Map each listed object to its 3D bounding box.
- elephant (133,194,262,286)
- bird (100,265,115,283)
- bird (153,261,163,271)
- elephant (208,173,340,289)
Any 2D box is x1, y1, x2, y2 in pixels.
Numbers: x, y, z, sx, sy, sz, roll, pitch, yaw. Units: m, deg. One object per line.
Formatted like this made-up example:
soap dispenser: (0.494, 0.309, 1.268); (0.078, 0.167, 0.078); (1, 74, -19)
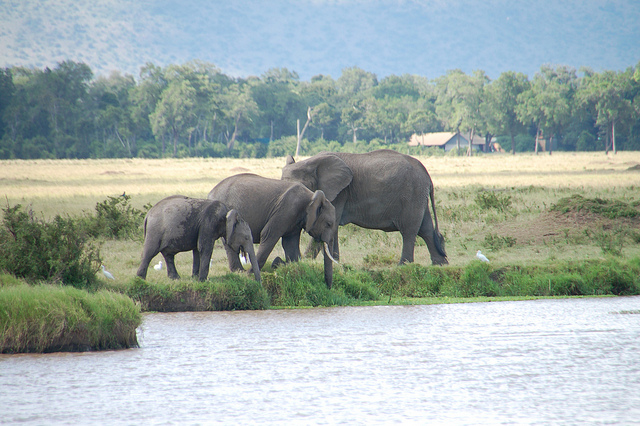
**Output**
elephant: (-7.632, 1.480, 66.326); (9.243, 6.208, 3.892); (0, 0, -4)
bird: (-13.024, 3.624, 65.134); (0.732, 0.858, 2.146); (0, -2, -14)
bird: (-10.344, 3.373, 67.485); (0.276, 0.447, 0.642); (8, 11, 33)
elephant: (-2.979, 1.098, 65.639); (8.431, 6.700, 3.577); (8, 15, 7)
